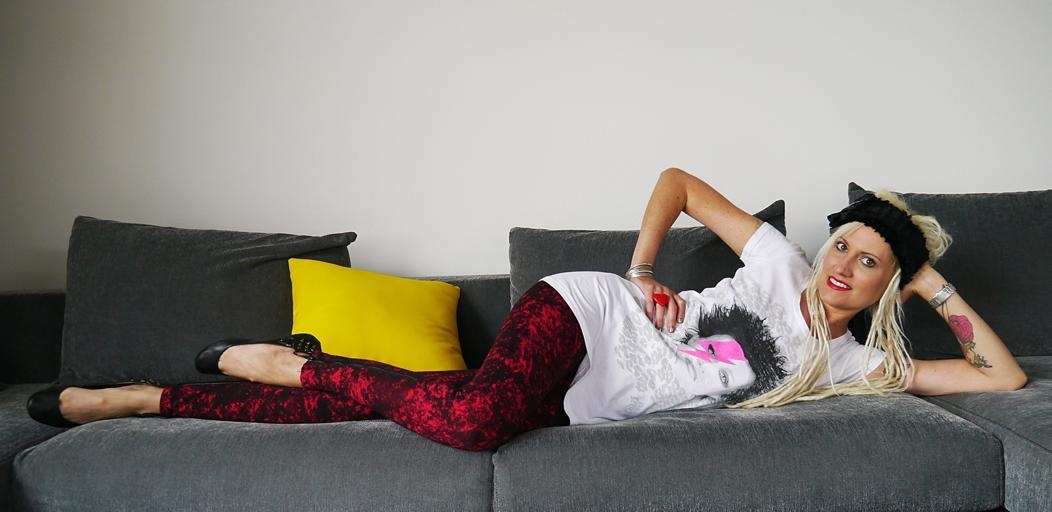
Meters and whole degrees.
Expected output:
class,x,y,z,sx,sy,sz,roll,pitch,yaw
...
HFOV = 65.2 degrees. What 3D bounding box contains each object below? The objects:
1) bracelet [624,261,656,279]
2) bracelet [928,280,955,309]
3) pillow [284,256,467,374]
class,x,y,z,sx,sy,sz,roll,pitch,yaw
bracelet,0.635,0.080,4.602,0.107,0.068,0.110,1,-11,5
bracelet,2.258,0.206,4.474,0.126,0.076,0.112,-33,-12,-16
pillow,-0.870,0.355,4.883,1.041,0.607,0.351,8,20,15
